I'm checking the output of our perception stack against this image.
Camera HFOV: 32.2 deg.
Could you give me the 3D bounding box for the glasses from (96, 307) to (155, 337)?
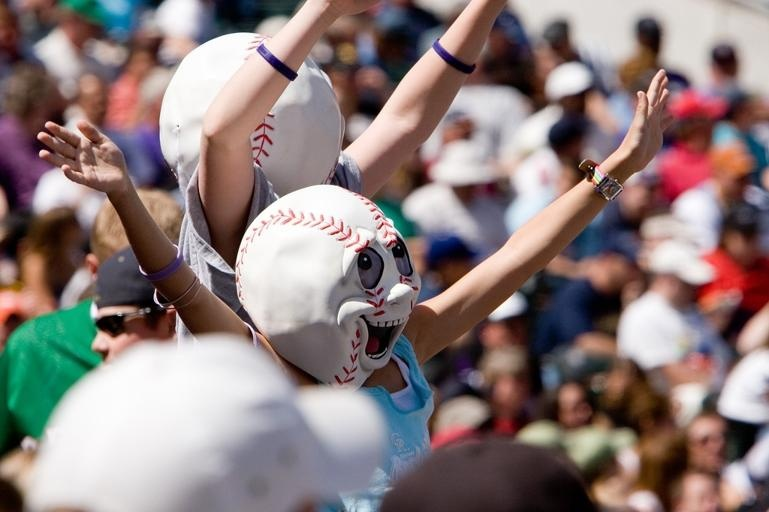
[{"bbox_3d":[-1.276,0.298,6.442,0.196,0.158,0.056,-12,89,-7],"label":"glasses"}]
